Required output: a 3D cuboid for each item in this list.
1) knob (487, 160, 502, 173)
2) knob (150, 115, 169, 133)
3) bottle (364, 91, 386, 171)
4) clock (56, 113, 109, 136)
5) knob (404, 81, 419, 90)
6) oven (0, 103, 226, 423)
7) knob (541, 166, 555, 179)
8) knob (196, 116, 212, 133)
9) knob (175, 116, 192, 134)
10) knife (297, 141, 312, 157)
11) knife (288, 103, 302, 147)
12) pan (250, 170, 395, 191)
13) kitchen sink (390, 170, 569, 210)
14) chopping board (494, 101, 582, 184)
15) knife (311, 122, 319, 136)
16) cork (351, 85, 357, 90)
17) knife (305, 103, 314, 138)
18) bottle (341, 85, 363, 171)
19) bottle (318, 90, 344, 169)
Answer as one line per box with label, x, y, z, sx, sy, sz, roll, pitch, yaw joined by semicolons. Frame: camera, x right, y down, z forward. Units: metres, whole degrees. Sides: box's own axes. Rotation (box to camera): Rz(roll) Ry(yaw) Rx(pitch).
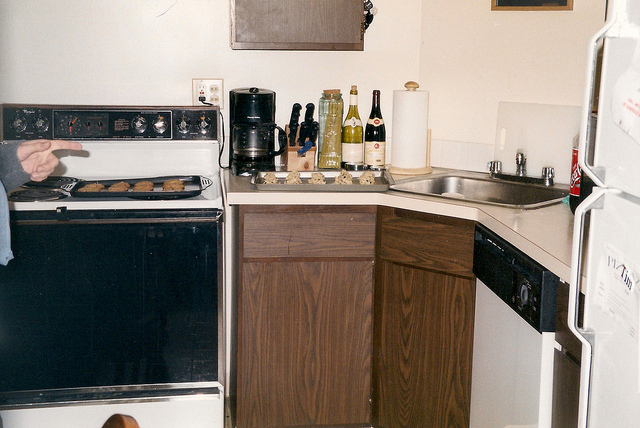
knob;0.821;-0.231;2.543;0.040;0.055;0.066;-1;3;-16
knob;-0.782;-0.436;2.610;0.078;0.082;0.021;4;2;-6
bottle;0.259;-0.407;2.601;0.099;0.368;0.261;0;11;5
clock;-1.135;-0.431;2.565;0.232;0.106;0.015;-3;11;-7
knob;0.437;-0.609;2.547;0.041;0.028;0.041;-1;4;-21
oven;-0.898;0.212;2.389;0.940;1.375;0.758;-3;11;-11
knob;1.025;-0.184;2.433;0.054;0.052;0.055;-5;7;-43
knob;-0.573;-0.440;2.640;0.070;0.077;0.032;-3;12;-6
knob;-0.671;-0.436;2.628;0.075;0.078;0.028;-4;13;-7
knife;-0.076;-0.313;2.583;0.075;0.046;0.020;-44;14;1
knife;-0.137;-0.458;2.733;0.054;0.234;0.052;2;-10;-2
pan;0.009;-0.159;2.405;0.641;0.071;0.334;-2;13;-3
kitchen sink;0.703;-0.087;2.393;0.723;0.119;0.645;5;14;25
chopping board;1.023;-0.364;2.549;0.224;0.367;0.389;-8;21;-30
knife;-0.031;-0.429;2.704;0.059;0.059;0.014;8;-3;13
cork;0.164;-0.628;2.646;0.034;0.026;0.035;2;7;5
knife;-0.056;-0.489;2.759;0.041;0.164;0.042;4;-29;-4
bottle;0.148;-0.421;2.613;0.103;0.395;0.094;-1;11;2
bottle;0.046;-0.425;2.674;0.125;0.379;0.112;-1;11;0
